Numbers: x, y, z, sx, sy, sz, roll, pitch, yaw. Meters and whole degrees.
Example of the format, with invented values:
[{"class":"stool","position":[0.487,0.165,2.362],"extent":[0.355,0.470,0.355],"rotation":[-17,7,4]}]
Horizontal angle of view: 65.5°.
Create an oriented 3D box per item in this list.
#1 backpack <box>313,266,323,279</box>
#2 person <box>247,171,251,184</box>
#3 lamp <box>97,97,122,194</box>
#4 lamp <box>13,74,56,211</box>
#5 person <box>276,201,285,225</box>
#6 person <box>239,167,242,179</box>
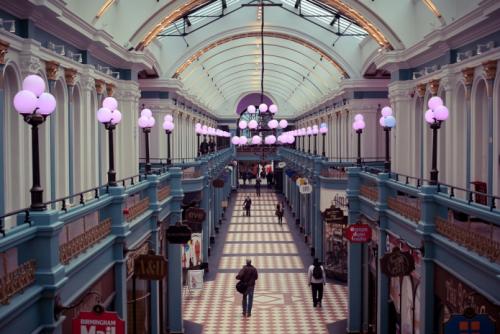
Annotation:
[{"class":"backpack","position":[2.741,4.236,15.720],"extent":[0.415,0.642,0.190],"rotation":[1,5,7]},{"class":"person","position":[-0.114,1.426,51.009],"extent":[0.584,1.594,1.232],"rotation":[0,5,-1]},{"class":"lamp","position":[-3.448,-0.629,9.511],"extent":[0.466,2.132,0.792],"rotation":[-1,5,-12]},{"class":"lamp","position":[-3.915,-0.492,7.121],"extent":[0.648,2.431,1.006],"rotation":[-3,5,-29]},{"class":"person","position":[2.237,3.466,29.376],"extent":[0.460,1.809,1.306],"rotation":[1,5,8]},{"class":"person","position":[-1.271,0.762,53.055],"extent":[0.501,1.378,1.202],"rotation":[0,5,-5]}]
